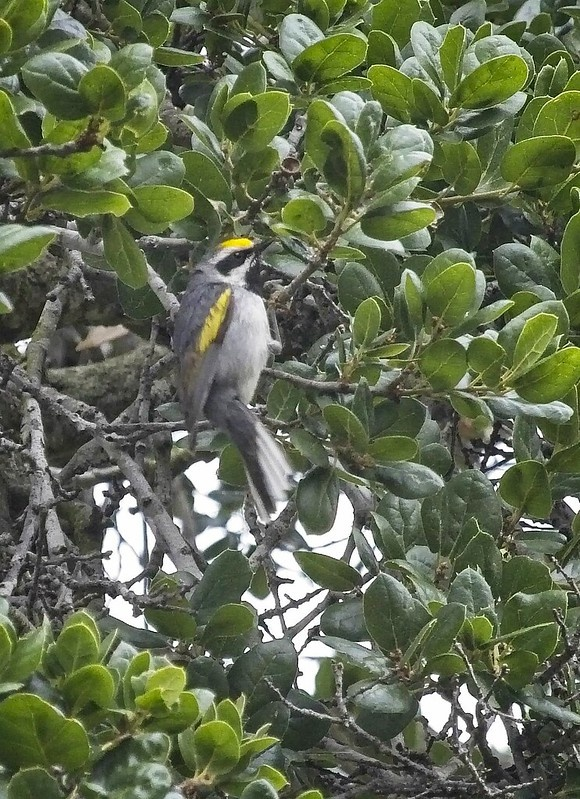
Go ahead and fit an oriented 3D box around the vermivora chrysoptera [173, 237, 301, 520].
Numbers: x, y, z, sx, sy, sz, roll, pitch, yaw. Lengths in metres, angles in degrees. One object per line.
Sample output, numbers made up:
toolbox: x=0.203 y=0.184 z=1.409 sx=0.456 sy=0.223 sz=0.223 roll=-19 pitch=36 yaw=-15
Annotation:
vermivora chrysoptera: x=-0.160 y=-0.090 z=4.538 sx=0.434 sy=0.984 sz=0.268 roll=-8 pitch=-50 yaw=5
